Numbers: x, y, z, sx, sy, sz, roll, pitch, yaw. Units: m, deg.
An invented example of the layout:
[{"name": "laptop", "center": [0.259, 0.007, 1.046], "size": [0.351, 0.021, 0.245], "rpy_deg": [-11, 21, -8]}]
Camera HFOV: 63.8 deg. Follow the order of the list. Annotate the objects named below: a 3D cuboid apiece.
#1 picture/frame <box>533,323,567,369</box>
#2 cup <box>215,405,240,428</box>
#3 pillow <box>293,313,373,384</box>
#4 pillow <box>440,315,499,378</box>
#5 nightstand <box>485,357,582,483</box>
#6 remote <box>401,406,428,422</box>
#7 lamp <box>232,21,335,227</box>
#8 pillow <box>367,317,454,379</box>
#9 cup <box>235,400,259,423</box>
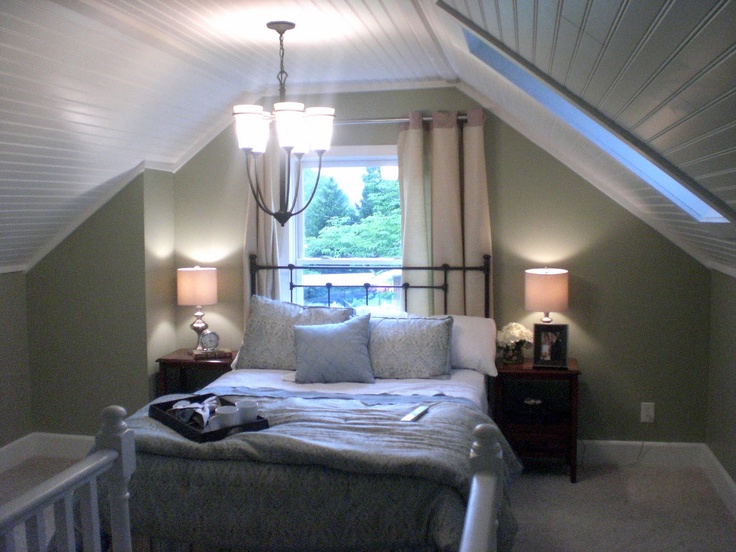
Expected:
[{"name": "picture/frame", "center": [1.239, 0.479, 4.015], "size": [0.272, 0.375, 0.267], "rpy_deg": [0, -8, 12]}, {"name": "cup", "center": [-0.695, 0.686, 2.897], "size": [0.091, 0.070, 0.088], "rpy_deg": [1, -1, 0]}, {"name": "pillow", "center": [-0.223, 0.483, 3.796], "size": [0.359, 0.340, 0.140], "rpy_deg": [-5, -22, 1]}, {"name": "pillow", "center": [0.712, 0.448, 3.978], "size": [0.360, 0.380, 0.161], "rpy_deg": [5, -21, 5]}, {"name": "nightstand", "center": [1.177, 0.944, 4.261], "size": [0.767, 1.013, 0.714], "rpy_deg": [-1, -1, 12]}, {"name": "remote", "center": [0.247, 0.704, 3.036], "size": [0.049, 0.020, 0.187], "rpy_deg": [-1, 7, 19]}, {"name": "lamp", "center": [-0.511, -0.885, 3.883], "size": [0.737, 1.167, 1.653], "rpy_deg": [-2, 8, -12]}, {"name": "pillow", "center": [0.276, 0.478, 3.841], "size": [0.372, 0.284, 0.135], "rpy_deg": [-1, -38, 13]}, {"name": "cup", "center": [-0.597, 0.665, 2.914], "size": [0.077, 0.095, 0.104], "rpy_deg": [0, 3, 17]}]
